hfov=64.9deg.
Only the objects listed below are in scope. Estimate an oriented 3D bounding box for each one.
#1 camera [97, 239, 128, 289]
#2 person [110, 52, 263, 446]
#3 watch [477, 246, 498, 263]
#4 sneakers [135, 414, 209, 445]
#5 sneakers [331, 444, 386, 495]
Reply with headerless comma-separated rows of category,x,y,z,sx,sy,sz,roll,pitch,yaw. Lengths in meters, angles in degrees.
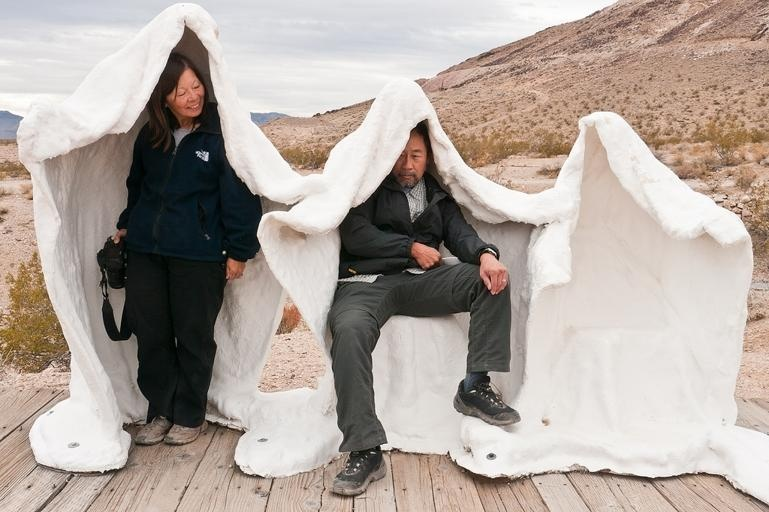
camera,-1.768,0.043,4.031,0.251,0.327,0.245,0,6,-5
person,-1.330,-0.026,4.000,1.006,2.447,0.804,-17,28,-29
watch,0.714,-0.025,4.133,0.101,0.111,0.061,-8,20,2
sneakers,-1.452,1.150,4.045,0.344,0.127,0.184,7,-8,-41
sneakers,-0.151,1.294,3.654,0.175,0.210,0.341,14,28,33
